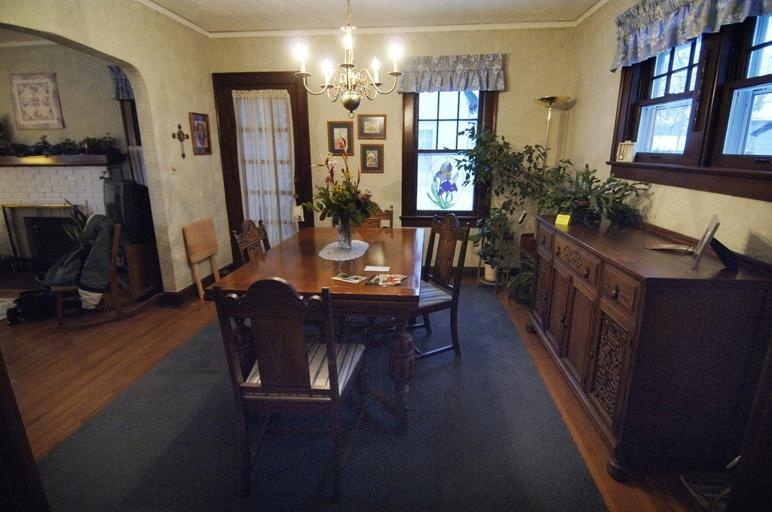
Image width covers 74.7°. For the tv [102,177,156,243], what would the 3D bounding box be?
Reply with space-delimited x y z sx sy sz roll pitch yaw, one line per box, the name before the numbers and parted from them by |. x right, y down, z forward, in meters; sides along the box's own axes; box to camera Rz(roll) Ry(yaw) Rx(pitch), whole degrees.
tv | -2.901 -0.505 5.708 0.457 0.701 0.392 -7 15 -19

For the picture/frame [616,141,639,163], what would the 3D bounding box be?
picture/frame | 2.231 -0.963 4.667 0.112 0.259 0.198 -5 17 -14

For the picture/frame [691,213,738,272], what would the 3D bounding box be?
picture/frame | 2.300 -0.118 3.589 0.231 0.348 0.469 5 15 24

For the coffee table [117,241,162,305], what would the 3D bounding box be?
coffee table | -2.744 0.169 5.805 0.225 0.897 0.576 1 -3 3

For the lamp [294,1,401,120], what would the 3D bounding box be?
lamp | -0.394 -2.234 5.614 1.230 1.548 1.249 0 16 1

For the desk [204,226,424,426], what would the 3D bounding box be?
desk | -0.420 0.918 4.802 1.450 0.985 2.300 5 -10 1

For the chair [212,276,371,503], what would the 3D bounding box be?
chair | -0.664 0.976 3.582 1.087 1.868 1.151 1 34 1

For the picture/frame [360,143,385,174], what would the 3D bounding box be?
picture/frame | -0.168 -1.233 6.269 0.408 0.463 0.033 0 13 -2

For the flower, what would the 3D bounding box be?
flower | -0.468 -0.780 5.514 0.809 0.829 0.835 11 21 38

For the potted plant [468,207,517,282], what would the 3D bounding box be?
potted plant | 1.307 -0.171 6.116 0.558 1.012 0.589 1 23 6

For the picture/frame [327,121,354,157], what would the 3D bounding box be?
picture/frame | -0.558 -1.452 6.226 0.330 0.416 0.125 -3 15 -5

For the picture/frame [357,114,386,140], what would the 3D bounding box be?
picture/frame | -0.170 -1.600 6.181 0.310 0.254 0.023 0 10 -1

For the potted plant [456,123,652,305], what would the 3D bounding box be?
potted plant | 1.687 -0.482 5.058 1.967 1.909 1.283 0 15 -2
